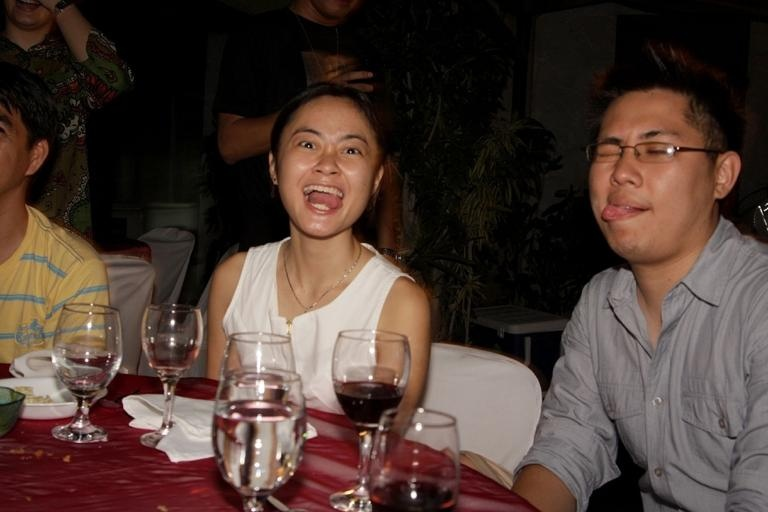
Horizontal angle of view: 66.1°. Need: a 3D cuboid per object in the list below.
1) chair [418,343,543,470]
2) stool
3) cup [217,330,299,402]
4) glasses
[{"bbox_3d":[0.393,0.483,2.232,0.394,0.485,0.428,12,3,21],"label":"chair"},{"bbox_3d":[1.152,0.505,5.189,0.486,0.515,0.766,-3,5,-17],"label":"stool"},{"bbox_3d":[-0.281,0.245,1.324,0.143,0.134,0.141,2,-8,0],"label":"cup"},{"bbox_3d":[0.897,-0.332,1.940,0.385,0.087,0.140,9,12,21],"label":"glasses"}]
